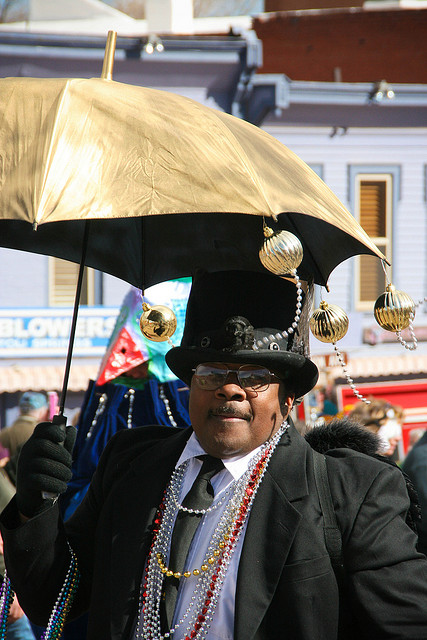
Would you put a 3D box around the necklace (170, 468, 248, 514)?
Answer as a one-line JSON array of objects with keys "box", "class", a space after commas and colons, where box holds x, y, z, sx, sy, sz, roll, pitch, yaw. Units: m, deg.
[{"box": [-0.030, 0.792, 6.131, 0.195, 0.256, 0.020, 47, -6, 39], "class": "necklace"}]

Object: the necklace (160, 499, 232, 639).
[{"box": [-0.070, 1.105, 6.039, 0.311, 0.618, 0.058, 4, -6, -26], "class": "necklace"}]

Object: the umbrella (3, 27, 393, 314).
[{"box": [-0.181, -0.681, 6.261, 1.719, 1.301, 1.598, 1, -5, 4], "class": "umbrella"}]

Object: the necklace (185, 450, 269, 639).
[{"box": [0.073, 1.030, 6.018, 0.044, 0.965, 0.078, 24, -26, 5], "class": "necklace"}]

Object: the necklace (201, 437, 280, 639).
[{"box": [0.130, 0.997, 6.003, 0.089, 1.140, 0.055, 20, -37, 6], "class": "necklace"}]

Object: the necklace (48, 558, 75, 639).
[{"box": [-0.689, 1.279, 6.218, 0.016, 0.369, 0.055, 15, -15, 20], "class": "necklace"}]

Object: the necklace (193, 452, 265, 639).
[{"box": [0.080, 1.035, 6.013, 0.060, 0.928, 0.074, 22, -26, 4], "class": "necklace"}]

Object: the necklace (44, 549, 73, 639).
[{"box": [-0.714, 1.255, 6.222, 0.061, 0.416, 0.034, 13, -8, 46], "class": "necklace"}]

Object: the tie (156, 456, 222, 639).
[{"box": [-0.115, 0.994, 6.087, 0.149, 1.012, 0.084, -22, -47, 38], "class": "tie"}]
